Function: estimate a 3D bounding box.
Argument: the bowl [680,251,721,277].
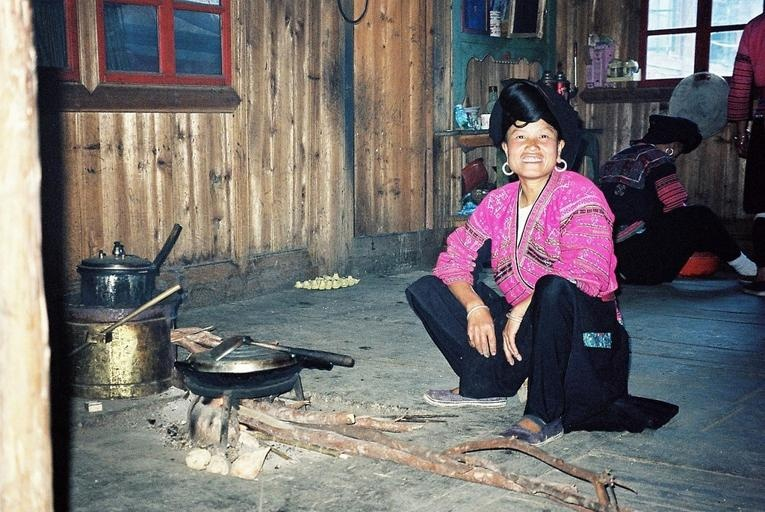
[{"bbox_3d":[3.374,0.074,8.442,0.377,0.156,0.281,-4,12,-22],"label":"bowl"}]

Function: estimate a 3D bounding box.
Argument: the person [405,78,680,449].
[{"bbox_3d":[0.890,0.011,4.567,1.295,1.966,0.731,10,17,37],"label":"person"}]

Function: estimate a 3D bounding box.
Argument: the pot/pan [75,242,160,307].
[{"bbox_3d":[-1.719,0.129,5.176,0.400,0.345,0.408,2,-2,17],"label":"pot/pan"}]

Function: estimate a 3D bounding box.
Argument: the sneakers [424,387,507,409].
[{"bbox_3d":[0.507,0.828,4.902,0.481,0.152,0.178,3,-5,5],"label":"sneakers"}]

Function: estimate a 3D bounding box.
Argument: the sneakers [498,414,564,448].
[{"bbox_3d":[0.856,0.970,4.478,0.395,0.152,0.158,-9,16,-32],"label":"sneakers"}]

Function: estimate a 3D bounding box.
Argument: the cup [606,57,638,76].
[{"bbox_3d":[2.915,-2.277,9.634,0.282,0.217,0.138,4,-2,14],"label":"cup"}]
